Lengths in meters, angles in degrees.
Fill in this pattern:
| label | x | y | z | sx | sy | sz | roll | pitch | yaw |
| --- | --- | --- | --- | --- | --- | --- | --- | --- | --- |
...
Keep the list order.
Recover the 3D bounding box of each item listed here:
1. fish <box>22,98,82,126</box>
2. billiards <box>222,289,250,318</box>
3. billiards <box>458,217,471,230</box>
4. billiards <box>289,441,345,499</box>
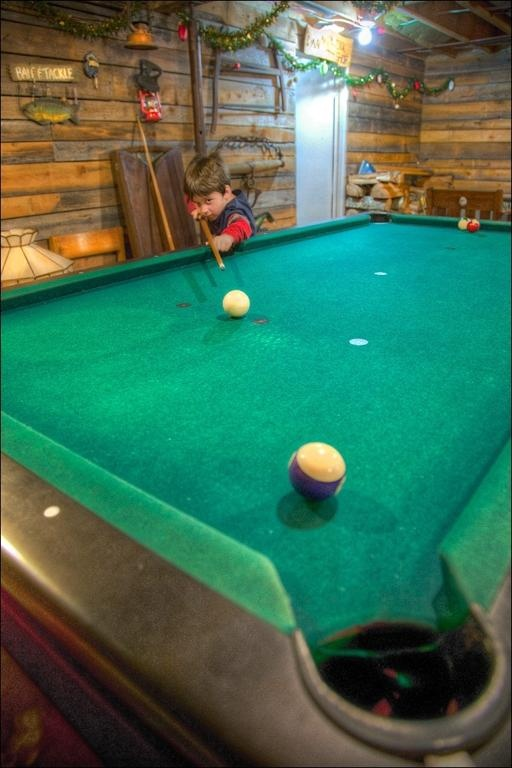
| label | x | y | z | sx | sy | sz | roll | pitch | yaw |
| --- | --- | --- | --- | --- | --- | --- | --- | --- | --- |
| fish | -1.357 | -1.819 | 3.449 | 0.055 | 0.167 | 0.401 | 13 | 29 | 34 |
| billiards | -0.068 | -0.284 | 1.759 | 0.089 | 0.104 | 0.088 | -14 | 20 | -22 |
| billiards | 1.324 | -1.025 | 3.322 | 0.072 | 0.088 | 0.075 | -6 | 13 | 11 |
| billiards | 0.093 | 0.141 | 0.808 | 0.074 | 0.090 | 0.076 | -12 | 25 | -16 |
